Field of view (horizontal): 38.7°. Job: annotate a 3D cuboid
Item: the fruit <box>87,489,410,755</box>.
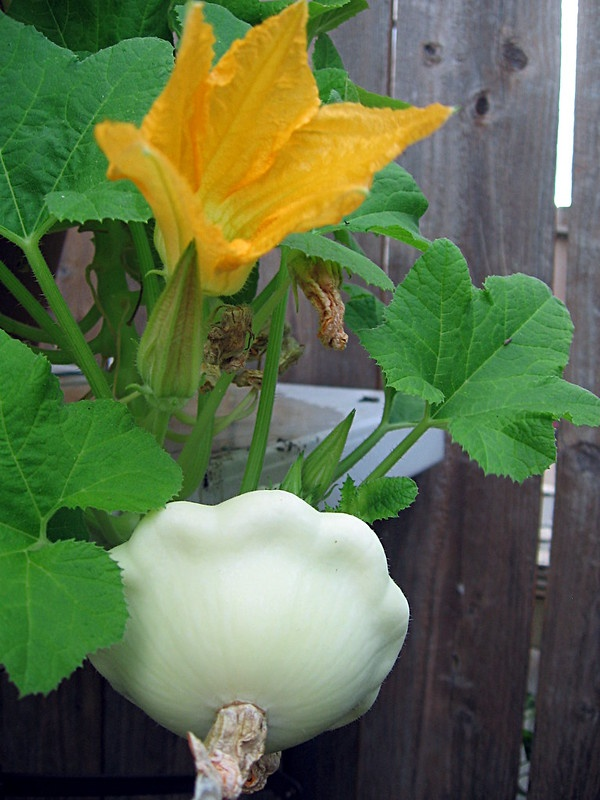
[{"bbox_3d":[-0.004,0.126,0.442,0.135,0.128,0.042,-9,32,2],"label":"fruit"}]
